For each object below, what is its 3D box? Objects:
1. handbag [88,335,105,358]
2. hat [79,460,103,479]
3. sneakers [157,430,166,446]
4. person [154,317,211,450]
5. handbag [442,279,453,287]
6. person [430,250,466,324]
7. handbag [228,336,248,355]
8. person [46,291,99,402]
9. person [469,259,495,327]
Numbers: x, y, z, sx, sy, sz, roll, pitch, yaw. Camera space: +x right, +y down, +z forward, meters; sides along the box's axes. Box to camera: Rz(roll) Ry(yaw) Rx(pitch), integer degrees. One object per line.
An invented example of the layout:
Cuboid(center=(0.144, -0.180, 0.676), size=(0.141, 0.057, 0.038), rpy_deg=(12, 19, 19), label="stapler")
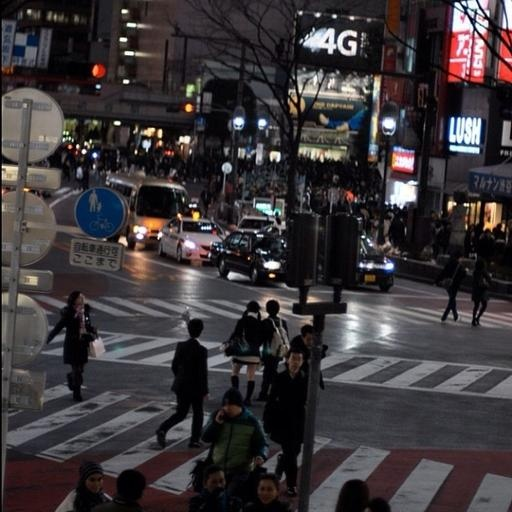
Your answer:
Cuboid(center=(-2.422, 1.406, 12.144), size=(0.213, 0.328, 0.472), rpy_deg=(3, 3, -12), label="handbag")
Cuboid(center=(-1.145, 1.478, 5.553), size=(0.102, 0.139, 0.157), rpy_deg=(-4, 5, 3), label="hat")
Cuboid(center=(-1.173, 2.217, 9.939), size=(0.070, 0.257, 0.105), rpy_deg=(-5, -31, -15), label="sneakers")
Cuboid(center=(-0.885, 1.602, 10.033), size=(0.582, 1.631, 0.453), rpy_deg=(3, 2, -5), label="person")
Cuboid(center=(5.331, 0.745, 22.177), size=(0.170, 0.186, 0.312), rpy_deg=(30, 4, 10), label="handbag")
Cuboid(center=(5.630, 0.833, 23.012), size=(0.751, 1.533, 2.744), rpy_deg=(4, 2, 13), label="person")
Cuboid(center=(-0.248, 1.355, 11.980), size=(0.182, 0.326, 0.272), rpy_deg=(10, 11, 42), label="handbag")
Cuboid(center=(-2.750, 1.380, 12.258), size=(0.745, 1.632, 0.557), rpy_deg=(5, 3, 44), label="person")
Cuboid(center=(6.131, 0.987, 21.743), size=(0.430, 1.550, 0.813), rpy_deg=(3, 2, 16), label="person")
